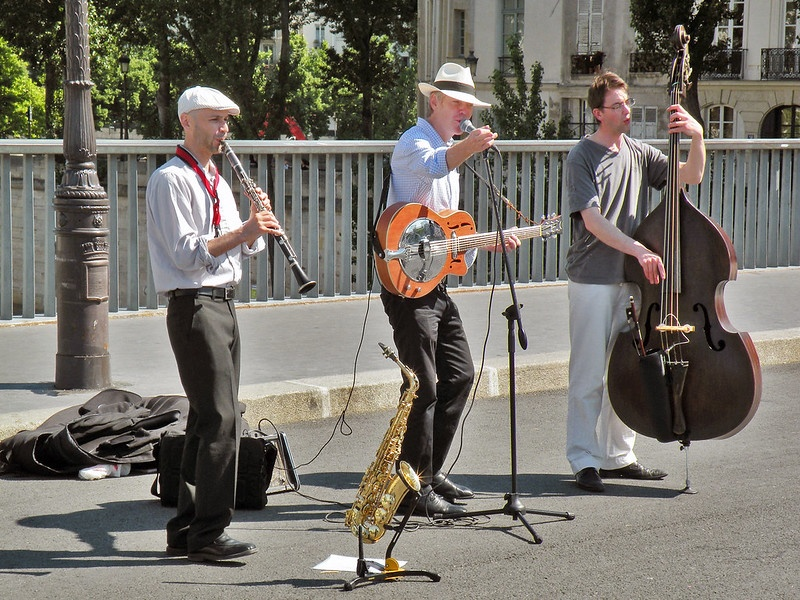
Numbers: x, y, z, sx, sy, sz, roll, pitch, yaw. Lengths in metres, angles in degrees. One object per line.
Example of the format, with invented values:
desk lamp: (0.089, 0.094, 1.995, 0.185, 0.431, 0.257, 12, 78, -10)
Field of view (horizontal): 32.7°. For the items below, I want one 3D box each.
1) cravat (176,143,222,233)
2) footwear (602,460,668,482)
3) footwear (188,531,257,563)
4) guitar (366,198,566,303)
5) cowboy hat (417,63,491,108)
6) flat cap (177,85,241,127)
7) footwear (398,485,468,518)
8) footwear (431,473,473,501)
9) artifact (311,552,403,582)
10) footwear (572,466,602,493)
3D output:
cravat: (-1.237, -0.723, 8.691, 0.122, 0.536, 0.308, -19, 1, 18)
footwear: (1.727, 1.278, 10.184, 0.486, 0.170, 0.174, -2, 8, 3)
footwear: (-1.134, 1.606, 8.818, 0.446, 0.202, 0.169, -4, 2, -4)
guitar: (0.206, -0.371, 9.630, 0.857, 0.667, 0.261, -6, 7, -33)
cowboy hat: (0.354, -1.537, 9.622, 0.460, 0.315, 0.547, -2, 6, 1)
flat cap: (-1.236, -1.262, 8.686, 0.302, 0.157, 0.221, -10, 16, -5)
footwear: (0.210, 1.390, 9.465, 0.620, 0.261, 0.203, 0, 1, -2)
footwear: (0.411, 1.352, 9.810, 0.389, 0.167, 0.131, 12, 30, -28)
artifact: (-0.267, 1.692, 8.708, 0.570, 0.073, 0.312, -1, 6, 14)
footwear: (1.358, 1.304, 9.930, 0.242, 0.170, 0.169, 0, 6, 22)
